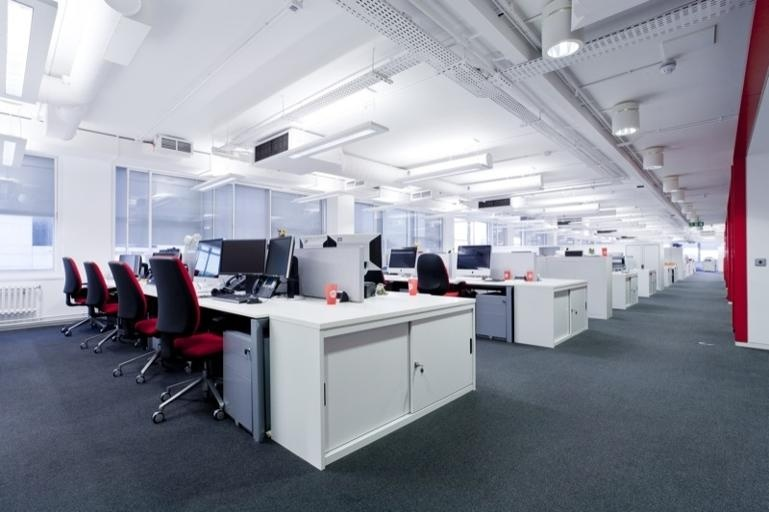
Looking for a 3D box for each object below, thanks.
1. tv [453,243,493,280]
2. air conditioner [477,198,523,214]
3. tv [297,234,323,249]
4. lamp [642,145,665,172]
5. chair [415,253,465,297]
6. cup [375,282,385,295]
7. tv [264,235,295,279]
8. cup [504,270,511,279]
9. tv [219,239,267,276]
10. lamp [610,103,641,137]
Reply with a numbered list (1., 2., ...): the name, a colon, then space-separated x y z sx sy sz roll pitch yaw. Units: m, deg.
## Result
1. tv: 1.526 0.124 8.201 0.557 0.522 0.201 0 -8 34
2. air conditioner: 3.355 -1.487 13.623 1.226 0.350 2.424 -1 3 20
3. tv: -0.995 -0.190 6.213 0.268 0.142 0.522 -4 3 -35
4. lamp: 5.273 -1.874 9.296 0.424 0.478 0.437 1 -7 -6
5. chair: 0.862 0.440 7.968 0.679 0.924 0.746 0 1 35
6. cup: -0.065 0.413 5.903 0.083 0.111 0.120 0 -3 -6
7. tv: -1.318 0.027 5.784 0.665 0.517 0.063 -2 -9 45
8. cup: 2.065 0.320 8.012 0.111 0.164 0.084 5 9 29
9. tv: -1.788 0.019 5.960 0.701 0.453 0.066 -1 -7 22
10. lamp: 3.740 -2.169 7.576 0.415 0.492 0.448 1 -7 3
